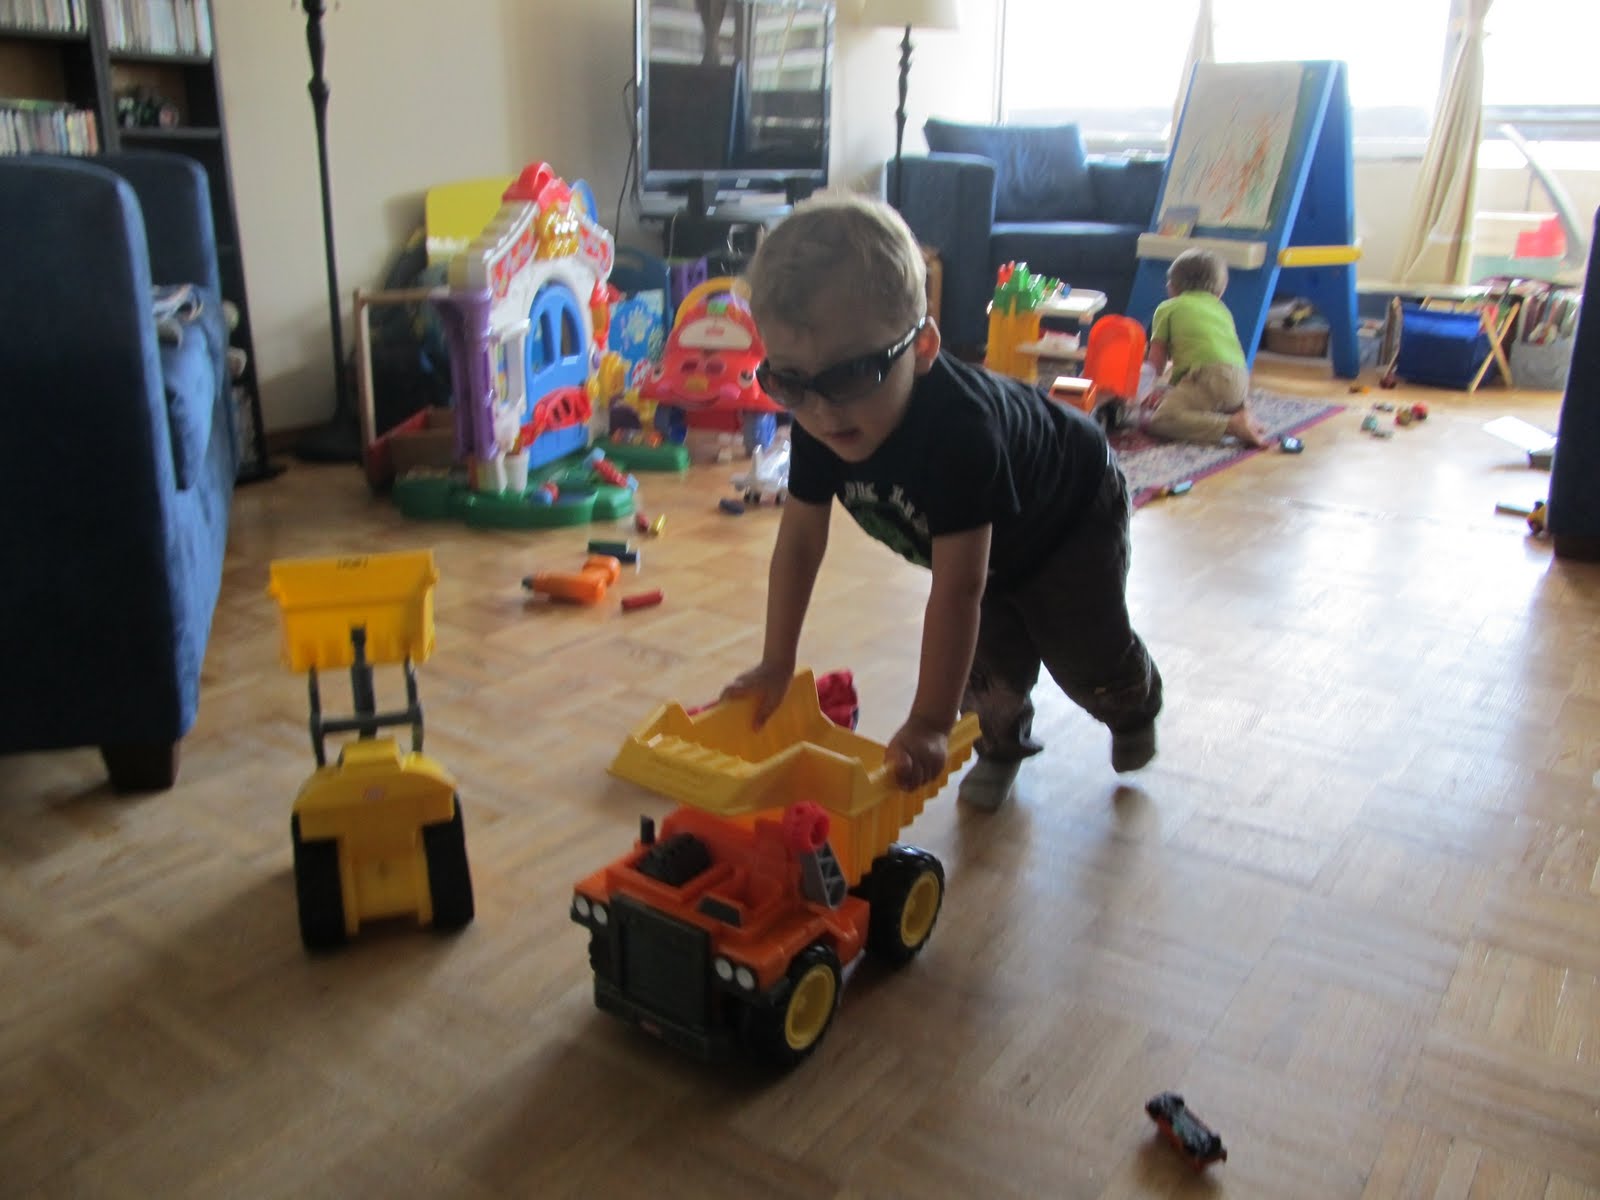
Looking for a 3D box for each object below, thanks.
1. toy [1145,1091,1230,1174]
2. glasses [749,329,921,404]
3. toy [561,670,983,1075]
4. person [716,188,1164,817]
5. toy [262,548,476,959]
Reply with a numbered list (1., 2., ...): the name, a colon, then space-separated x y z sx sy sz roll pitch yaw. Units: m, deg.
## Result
1. toy: 0.433 0.589 1.401 0.048 0.036 0.082 -6 20 -30
2. glasses: 0.043 -0.283 1.490 0.179 0.090 0.066 2 21 -1
3. toy: -0.020 0.319 1.679 0.321 0.419 0.542 11 19 32
4. person: 0.244 -0.106 1.789 0.688 0.909 0.368 -13 19 -33
5. toy: -0.574 0.203 1.697 0.229 0.498 0.320 -3 21 -14
